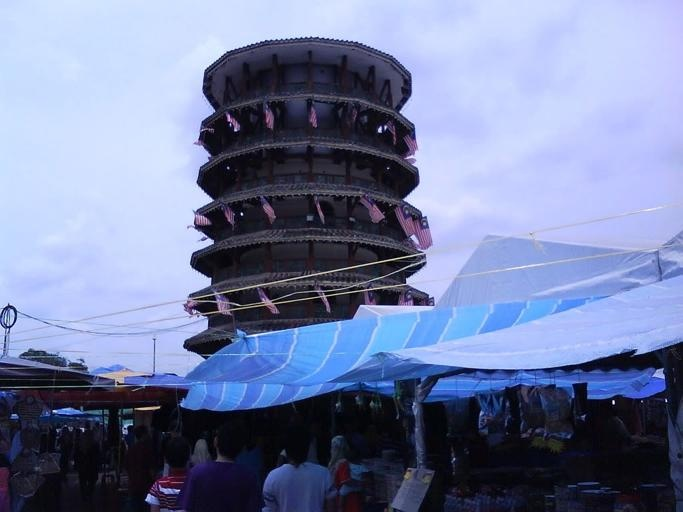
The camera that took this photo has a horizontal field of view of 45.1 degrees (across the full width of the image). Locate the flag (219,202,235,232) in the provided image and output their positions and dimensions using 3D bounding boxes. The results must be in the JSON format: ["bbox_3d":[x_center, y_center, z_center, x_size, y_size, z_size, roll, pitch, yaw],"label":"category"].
[{"bbox_3d":[-4.909,-1.619,35.663,0.614,0.909,1.699,3,-22,-7],"label":"flag"}]

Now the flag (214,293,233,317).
[{"bbox_3d":[-4.795,2.066,33.782,1.014,0.317,1.091,11,-56,31],"label":"flag"}]

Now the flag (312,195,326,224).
[{"bbox_3d":[-0.960,-2.004,34.800,0.416,1.358,0.322,-16,7,9],"label":"flag"}]

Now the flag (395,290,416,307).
[{"bbox_3d":[2.811,1.883,35.777,0.605,0.725,0.688,4,-54,-1],"label":"flag"}]

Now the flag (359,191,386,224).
[{"bbox_3d":[1.339,-1.954,34.682,0.653,0.945,1.278,-12,-24,29],"label":"flag"}]

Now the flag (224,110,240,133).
[{"bbox_3d":[-4.835,-5.829,36.744,0.709,0.993,1.479,3,-22,-7],"label":"flag"}]

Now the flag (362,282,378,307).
[{"bbox_3d":[1.138,1.538,33.289,0.587,1.368,0.630,-4,-49,1],"label":"flag"}]

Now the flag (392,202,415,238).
[{"bbox_3d":[2.703,-1.507,34.568,0.712,0.184,1.910,-29,-49,-18],"label":"flag"}]

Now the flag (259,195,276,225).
[{"bbox_3d":[-3.104,-1.847,34.597,0.651,1.035,1.390,2,-22,-6],"label":"flag"}]

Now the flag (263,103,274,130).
[{"bbox_3d":[-3.120,-5.961,35.420,0.436,1.345,1.055,2,-21,-5],"label":"flag"}]
